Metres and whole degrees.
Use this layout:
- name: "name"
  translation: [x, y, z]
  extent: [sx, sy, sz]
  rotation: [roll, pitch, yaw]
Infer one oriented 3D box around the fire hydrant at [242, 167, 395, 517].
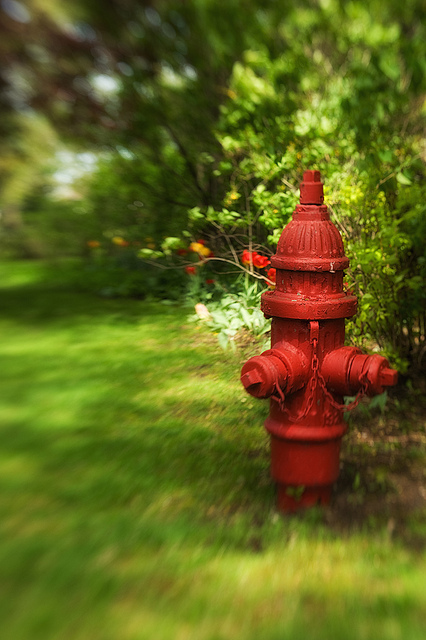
- name: "fire hydrant"
  translation: [0.366, 0.132, 1.701]
  extent: [0.514, 1.108, 0.391]
  rotation: [9, 4, -1]
